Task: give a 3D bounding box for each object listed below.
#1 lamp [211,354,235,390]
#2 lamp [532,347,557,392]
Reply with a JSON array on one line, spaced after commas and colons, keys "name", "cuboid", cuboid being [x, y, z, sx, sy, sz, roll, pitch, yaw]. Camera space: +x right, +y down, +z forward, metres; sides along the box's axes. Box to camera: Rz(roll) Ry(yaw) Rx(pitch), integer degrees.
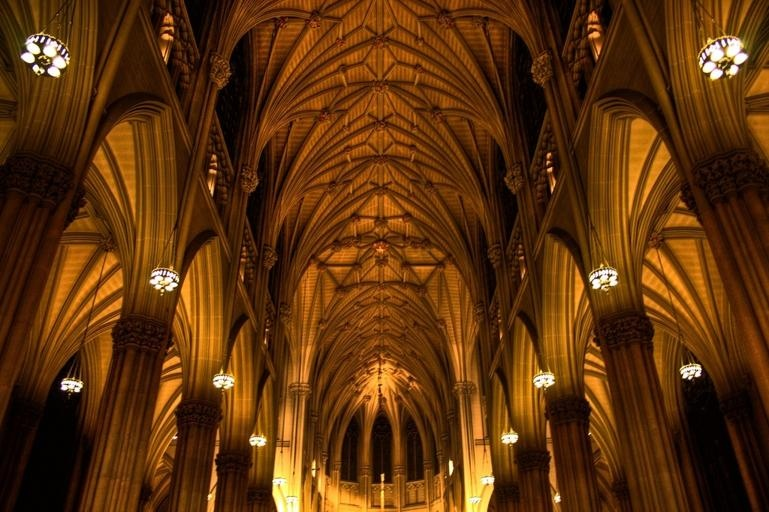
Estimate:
[{"name": "lamp", "cuboid": [-4.586, 3.384, 18.651, 0.486, 1.192, 0.483, 3, -3, 34]}, {"name": "lamp", "cuboid": [4.702, 3.283, 18.670, 0.621, 1.188, 1.098, -8, -35, 14]}]
